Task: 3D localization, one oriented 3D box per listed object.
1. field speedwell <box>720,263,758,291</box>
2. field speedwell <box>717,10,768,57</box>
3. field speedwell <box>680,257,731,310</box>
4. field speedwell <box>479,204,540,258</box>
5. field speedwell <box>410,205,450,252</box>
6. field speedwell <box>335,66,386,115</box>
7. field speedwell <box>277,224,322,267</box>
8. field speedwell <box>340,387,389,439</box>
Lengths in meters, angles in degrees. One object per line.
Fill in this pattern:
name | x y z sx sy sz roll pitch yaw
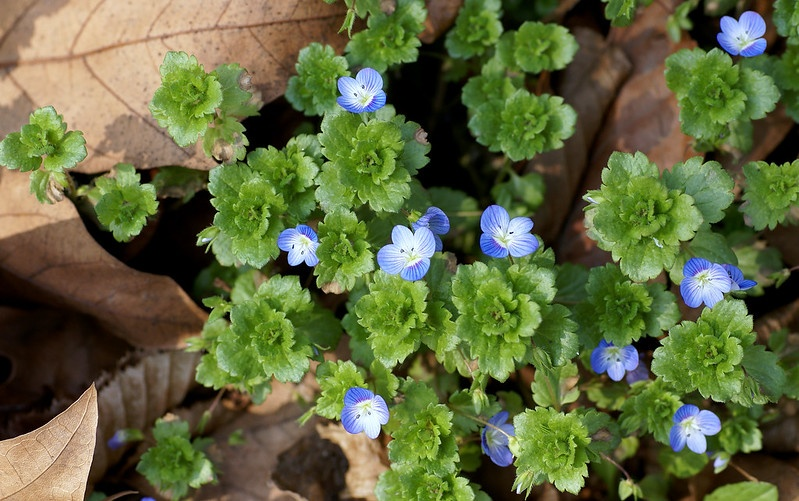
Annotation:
field speedwell | 1.862 0.169 4.154 0.164 0.090 0.181 21 73 -6
field speedwell | 1.929 -1.204 4.268 0.232 0.269 0.142 9 13 20
field speedwell | 1.644 0.183 4.091 0.253 0.190 0.210 20 48 21
field speedwell | 0.598 -0.078 4.134 0.318 0.201 0.247 8 45 10
field speedwell | 0.188 -0.112 4.229 0.201 0.224 0.098 -41 45 -13
field speedwell | -0.214 -0.869 4.206 0.264 0.228 0.234 5 44 7
field speedwell | -0.531 -0.049 4.208 0.228 0.207 0.104 40 21 4
field speedwell | -0.187 0.870 4.078 0.253 0.226 0.209 0 43 2
